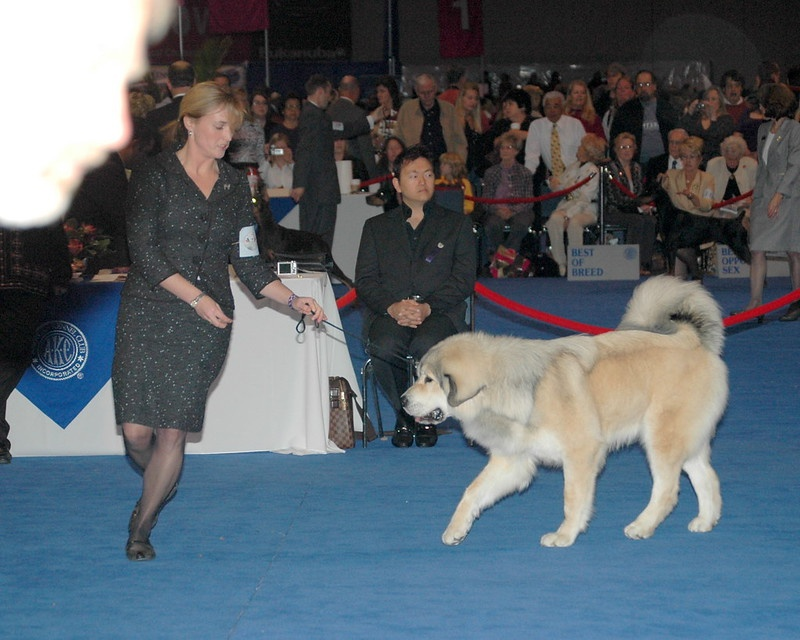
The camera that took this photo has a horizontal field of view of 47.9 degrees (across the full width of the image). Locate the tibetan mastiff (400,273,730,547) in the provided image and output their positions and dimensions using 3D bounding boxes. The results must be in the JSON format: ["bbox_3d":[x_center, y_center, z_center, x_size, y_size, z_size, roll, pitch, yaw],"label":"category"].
[{"bbox_3d":[0.819,0.436,4.305,1.481,1.248,0.606,-2,1,-4],"label":"tibetan mastiff"}]

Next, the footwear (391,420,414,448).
[{"bbox_3d":[0.021,0.716,5.665,0.104,0.186,0.079,4,-16,4],"label":"footwear"}]

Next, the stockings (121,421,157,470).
[{"bbox_3d":[-1.162,0.554,4.005,0.147,0.242,0.115,-6,8,-8],"label":"stockings"}]

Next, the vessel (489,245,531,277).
[{"bbox_3d":[1.493,-0.759,12.221,0.450,0.181,0.398,31,41,21],"label":"vessel"}]

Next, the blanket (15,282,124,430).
[{"bbox_3d":[-2.032,0.172,5.411,0.740,0.671,0.008,38,-9,4],"label":"blanket"}]

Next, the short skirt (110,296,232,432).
[{"bbox_3d":[-0.994,0.187,3.942,0.512,0.621,0.217,-5,13,-17],"label":"short skirt"}]

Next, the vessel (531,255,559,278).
[{"bbox_3d":[1.998,-0.743,12.470,0.326,0.228,0.335,1,5,6],"label":"vessel"}]
